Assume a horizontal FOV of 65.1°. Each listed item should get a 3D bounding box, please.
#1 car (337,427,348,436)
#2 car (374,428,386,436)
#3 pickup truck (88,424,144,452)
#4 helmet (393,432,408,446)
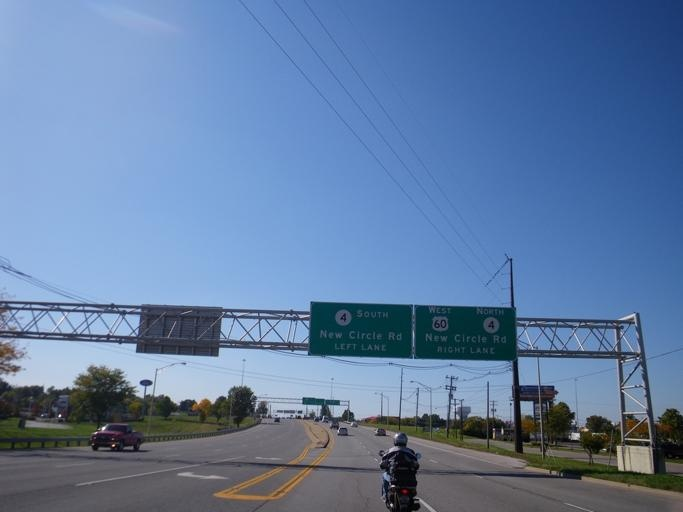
[{"bbox_3d":[0.098,27.351,83.038,1.176,1.040,2.448,3,-21,-5],"label":"car"},{"bbox_3d":[6.418,29.490,89.011,1.049,0.839,1.821,1,-9,-1],"label":"car"},{"bbox_3d":[-16.834,13.846,40.792,1.986,1.507,4.176,-1,-30,1],"label":"pickup truck"},{"bbox_3d":[2.101,6.635,19.213,0.455,0.600,0.605,3,-17,5],"label":"helmet"}]
